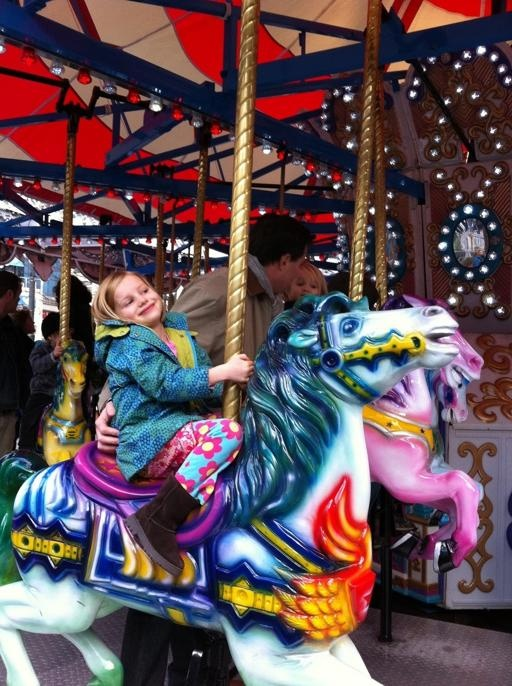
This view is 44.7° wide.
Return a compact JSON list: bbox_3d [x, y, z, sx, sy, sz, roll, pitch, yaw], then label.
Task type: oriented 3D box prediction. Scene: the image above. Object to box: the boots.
[{"bbox_3d":[-0.215,0.333,1.265,0.065,0.144,0.148,40,-15,32],"label":"boots"}]
